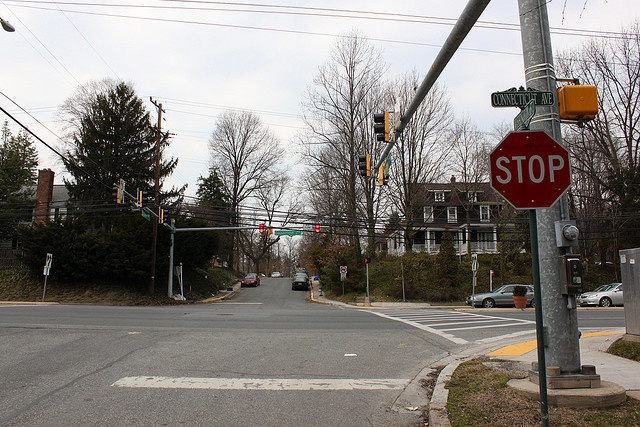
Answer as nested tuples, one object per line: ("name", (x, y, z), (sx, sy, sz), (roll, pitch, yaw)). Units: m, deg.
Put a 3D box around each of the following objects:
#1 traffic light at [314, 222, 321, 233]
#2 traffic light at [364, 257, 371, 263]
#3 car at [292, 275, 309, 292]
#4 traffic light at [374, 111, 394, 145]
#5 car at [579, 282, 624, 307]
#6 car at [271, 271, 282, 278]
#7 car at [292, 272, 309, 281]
("traffic light", (-0.160, 1.086, 41.782), (0.654, 0.626, 1.569), (2, 7, -2))
("traffic light", (3.305, 3.244, 39.146), (0.602, 0.333, 0.872), (-1, -8, 0))
("car", (-1.914, 7.066, 56.621), (1.249, 1.004, 2.898), (1, 0, 0))
("traffic light", (2.037, -2.822, 18.511), (0.472, 0.986, 0.296), (-3, 19, 5))
("car", (17.169, 4.989, 34.299), (2.244, 1.427, 1.920), (1, -9, -6))
("car", (-7.433, 10.886, 97.398), (1.162, 0.964, 2.660), (1, 4, -19))
("car", (-1.920, 6.565, 58.297), (1.270, 1.048, 3.034), (0, -6, -5))
